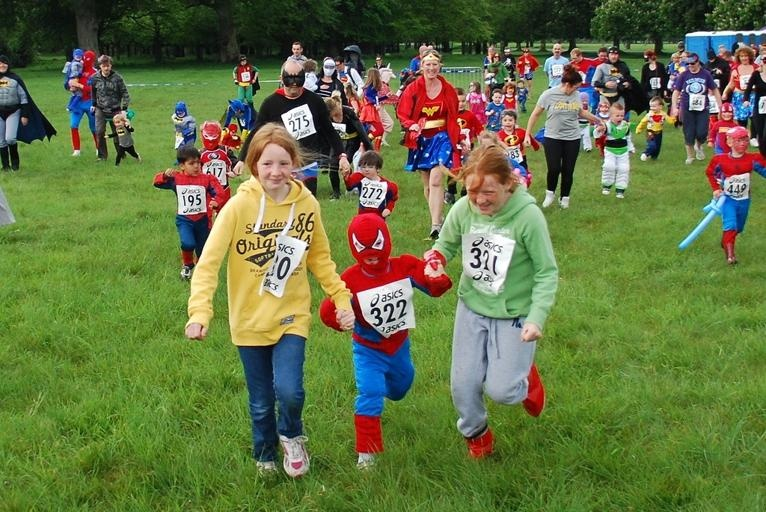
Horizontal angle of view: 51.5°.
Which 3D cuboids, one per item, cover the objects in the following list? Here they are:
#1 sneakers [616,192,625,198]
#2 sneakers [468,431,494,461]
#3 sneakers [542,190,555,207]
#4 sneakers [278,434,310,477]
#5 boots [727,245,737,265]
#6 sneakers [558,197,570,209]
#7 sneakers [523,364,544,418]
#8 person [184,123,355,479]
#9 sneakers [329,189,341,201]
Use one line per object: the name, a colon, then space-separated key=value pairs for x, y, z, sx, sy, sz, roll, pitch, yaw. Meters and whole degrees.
sneakers: x=4.634 y=-1.197 z=15.527 sx=0.133 sy=0.148 sz=0.103 roll=2 pitch=12 yaw=10
sneakers: x=0.966 y=1.891 z=7.810 sx=0.169 sy=0.306 sz=0.295 roll=-23 pitch=-22 yaw=13
sneakers: x=3.081 y=-1.123 z=14.836 sx=0.140 sy=0.183 sz=0.412 roll=14 pitch=57 yaw=33
sneakers: x=-0.842 y=1.933 z=7.640 sx=0.189 sy=0.507 sz=0.200 roll=-4 pitch=-14 yaw=-20
boots: x=5.104 y=-0.008 z=11.643 sx=0.148 sy=0.227 sz=0.249 roll=7 pitch=17 yaw=22
sneakers: x=3.366 y=-1.003 z=14.826 sx=0.192 sy=0.202 sz=0.170 roll=9 pitch=8 yaw=18
sneakers: x=1.519 y=1.366 z=7.900 sx=0.175 sy=0.586 sz=0.214 roll=-3 pitch=8 yaw=34
person: x=-1.062 y=0.442 z=7.586 sx=1.474 sy=3.278 sz=0.866 roll=-4 pitch=14 yaw=-16
sneakers: x=-0.920 y=-1.155 z=15.218 sx=0.138 sy=0.258 sz=0.233 roll=-1 pitch=0 yaw=-27
